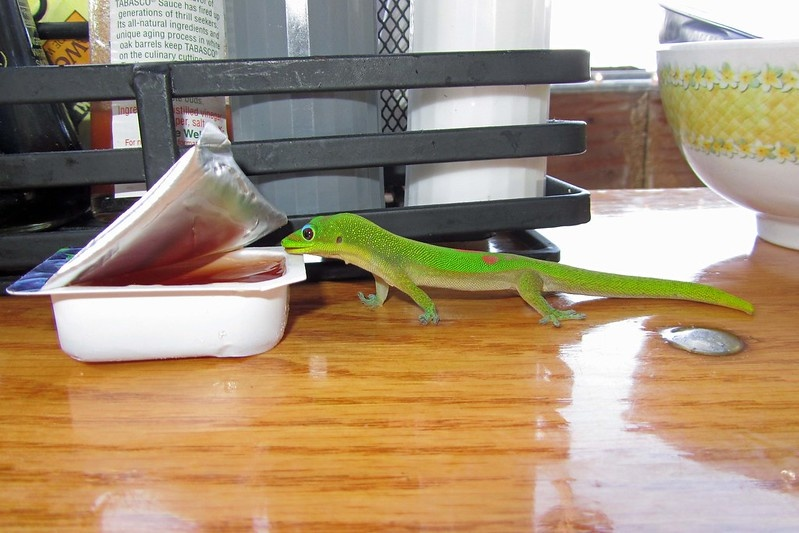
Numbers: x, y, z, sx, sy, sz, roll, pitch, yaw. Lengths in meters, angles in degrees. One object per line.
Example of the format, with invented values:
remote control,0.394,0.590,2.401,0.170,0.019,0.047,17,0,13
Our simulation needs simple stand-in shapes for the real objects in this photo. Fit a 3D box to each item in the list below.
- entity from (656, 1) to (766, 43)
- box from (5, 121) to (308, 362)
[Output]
entity,0.368,-0.285,0.832,0.098,0.048,0.219,4,20,9
box,-0.165,-0.030,0.640,0.279,0.179,0.174,2,22,-4
